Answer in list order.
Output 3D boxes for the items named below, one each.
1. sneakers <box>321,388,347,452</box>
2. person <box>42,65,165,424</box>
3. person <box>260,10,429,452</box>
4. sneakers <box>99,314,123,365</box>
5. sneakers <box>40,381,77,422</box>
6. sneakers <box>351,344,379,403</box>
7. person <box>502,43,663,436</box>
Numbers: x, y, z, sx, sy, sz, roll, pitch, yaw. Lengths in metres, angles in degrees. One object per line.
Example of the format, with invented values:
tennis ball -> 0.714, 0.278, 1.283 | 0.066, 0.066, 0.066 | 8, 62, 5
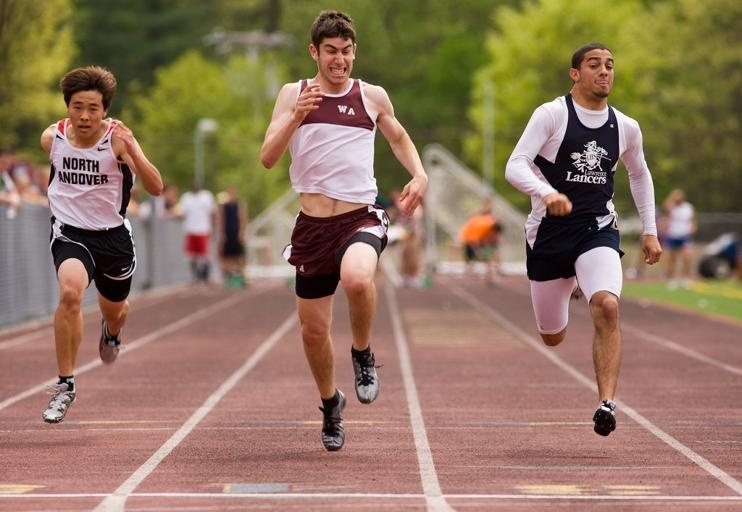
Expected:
sneakers -> -0.249, 1.055, 5.440 | 0.136, 0.388, 0.167 | -4, -3, 15
person -> -2.008, -0.054, 6.226 | 0.835, 2.655, 1.232 | -2, 8, -20
person -> -0.184, -0.125, 5.314 | 0.991, 2.831, 0.790 | -1, 7, -8
sneakers -> -2.205, 0.741, 7.210 | 0.173, 0.458, 0.199 | -7, 35, -20
sneakers -> -2.158, 0.993, 5.842 | 0.150, 0.203, 0.424 | 9, 13, -3
sneakers -> -0.034, 0.779, 5.428 | 0.135, 0.410, 0.176 | -7, -14, 3
person -> 1.448, -0.341, 5.703 | 0.882, 2.173, 1.055 | 4, 8, 29
